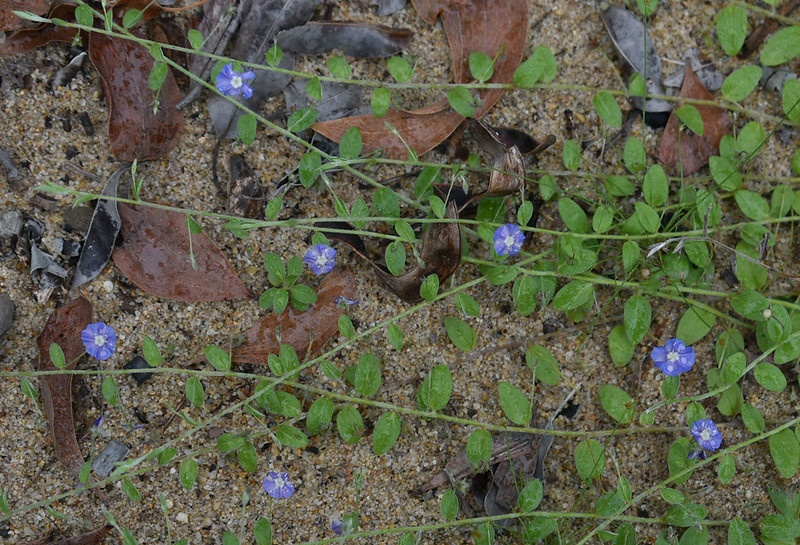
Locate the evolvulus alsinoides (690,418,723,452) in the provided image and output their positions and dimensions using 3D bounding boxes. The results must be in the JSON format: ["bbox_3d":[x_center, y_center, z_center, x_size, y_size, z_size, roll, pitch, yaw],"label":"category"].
[{"bbox_3d":[1.129,0.593,2.957,0.106,0.047,0.119,41,78,-10],"label":"evolvulus alsinoides"}]

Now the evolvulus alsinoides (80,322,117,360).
[{"bbox_3d":[-1.113,0.247,2.936,0.134,0.078,0.115,28,72,10],"label":"evolvulus alsinoides"}]

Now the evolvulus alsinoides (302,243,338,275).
[{"bbox_3d":[-0.297,-0.049,2.976,0.107,0.077,0.090,-1,69,0],"label":"evolvulus alsinoides"}]

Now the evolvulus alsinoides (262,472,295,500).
[{"bbox_3d":[-0.465,0.799,3.005,0.124,0.134,0.101,-3,68,-1],"label":"evolvulus alsinoides"}]
